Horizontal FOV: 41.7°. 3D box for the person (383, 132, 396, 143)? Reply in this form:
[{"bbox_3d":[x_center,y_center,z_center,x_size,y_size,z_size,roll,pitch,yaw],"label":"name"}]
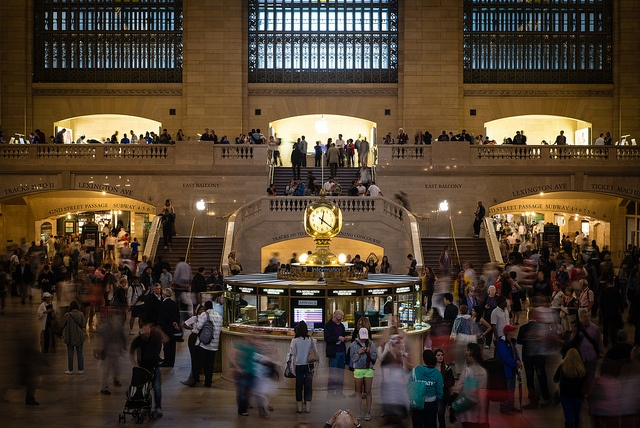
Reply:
[{"bbox_3d":[3.771,-4.098,45.166,0.521,0.720,1.281,-1,15,5],"label":"person"}]

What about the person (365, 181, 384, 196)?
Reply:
[{"bbox_3d":[2.578,-1.222,40.312,0.675,1.074,0.302,0,11,9],"label":"person"}]

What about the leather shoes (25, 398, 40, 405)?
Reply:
[{"bbox_3d":[-8.361,5.386,24.281,0.411,0.298,0.155,1,2,-5],"label":"leather shoes"}]

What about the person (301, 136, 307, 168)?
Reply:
[{"bbox_3d":[-0.880,-3.295,43.650,0.316,1.526,1.017,1,-3,4],"label":"person"}]

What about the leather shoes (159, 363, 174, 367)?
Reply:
[{"bbox_3d":[-4.908,4.766,26.832,0.446,0.199,0.153,7,-5,10],"label":"leather shoes"}]

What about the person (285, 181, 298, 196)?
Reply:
[{"bbox_3d":[-1.374,-1.272,40.072,0.516,0.723,0.737,1,-3,-1],"label":"person"}]

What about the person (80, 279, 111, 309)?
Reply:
[{"bbox_3d":[-7.681,2.700,28.533,0.496,0.667,0.917,14,-15,32],"label":"person"}]

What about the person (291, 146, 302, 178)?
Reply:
[{"bbox_3d":[-1.189,-2.624,42.289,0.481,1.830,1.263,1,-3,-2],"label":"person"}]

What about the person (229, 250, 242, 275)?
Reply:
[{"bbox_3d":[-3.485,1.956,34.044,0.467,0.880,0.683,1,-3,-6],"label":"person"}]

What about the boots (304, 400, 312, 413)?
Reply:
[{"bbox_3d":[-0.322,5.420,23.871,0.247,0.263,0.240,1,4,26],"label":"boots"}]

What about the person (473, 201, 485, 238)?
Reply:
[{"bbox_3d":[7.653,0.251,40.362,0.526,1.760,1.011,0,-3,9],"label":"person"}]

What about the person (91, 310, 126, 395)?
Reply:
[{"bbox_3d":[-6.213,4.075,24.905,0.799,2.456,0.864,2,-4,-16],"label":"person"}]

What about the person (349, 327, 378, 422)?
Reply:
[{"bbox_3d":[1.215,4.451,23.619,0.629,2.533,0.602,4,-4,-39],"label":"person"}]

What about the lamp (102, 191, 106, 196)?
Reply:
[{"bbox_3d":[-11.352,-1.103,44.007,0.158,0.163,0.138,-6,11,-30],"label":"lamp"}]

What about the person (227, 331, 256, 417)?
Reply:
[{"bbox_3d":[-2.110,4.353,23.232,0.632,1.995,0.968,1,-3,-8],"label":"person"}]

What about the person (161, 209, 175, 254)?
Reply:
[{"bbox_3d":[-7.025,0.637,38.685,0.587,1.834,0.661,2,-3,-14],"label":"person"}]

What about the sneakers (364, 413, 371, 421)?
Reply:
[{"bbox_3d":[1.344,5.616,23.475,0.209,0.193,0.183,2,-4,-14],"label":"sneakers"}]

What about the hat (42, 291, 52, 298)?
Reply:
[{"bbox_3d":[-8.901,2.598,27.312,0.337,0.147,0.452,0,-3,-4],"label":"hat"}]

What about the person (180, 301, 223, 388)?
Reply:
[{"bbox_3d":[-3.487,3.998,25.266,0.950,2.313,0.553,1,-3,4],"label":"person"}]

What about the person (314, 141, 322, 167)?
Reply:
[{"bbox_3d":[-0.074,-3.229,44.452,0.399,1.418,1.273,1,-3,0],"label":"person"}]

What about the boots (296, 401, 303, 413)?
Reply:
[{"bbox_3d":[-0.586,5.441,23.901,0.148,0.297,0.301,1,3,-3],"label":"boots"}]

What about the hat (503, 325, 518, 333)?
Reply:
[{"bbox_3d":[5.430,3.255,23.803,0.360,0.194,0.254,-22,6,-1],"label":"hat"}]

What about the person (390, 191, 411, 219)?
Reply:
[{"bbox_3d":[3.955,-0.682,40.295,0.838,1.096,2.989,1,-3,5],"label":"person"}]

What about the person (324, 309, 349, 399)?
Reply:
[{"bbox_3d":[0.465,4.051,24.555,0.703,2.551,0.606,1,-3,-1],"label":"person"}]

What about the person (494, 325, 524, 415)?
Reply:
[{"bbox_3d":[5.366,4.341,23.804,0.607,2.438,1.166,0,-4,20],"label":"person"}]

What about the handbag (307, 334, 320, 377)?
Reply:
[{"bbox_3d":[-0.182,4.016,23.834,0.231,0.909,0.335,-1,-4,27],"label":"handbag"}]

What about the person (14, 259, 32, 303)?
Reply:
[{"bbox_3d":[-12.483,2.761,35.257,0.716,1.858,1.119,2,-4,-20],"label":"person"}]

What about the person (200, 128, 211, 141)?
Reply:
[{"bbox_3d":[-5.866,-4.068,43.094,0.585,1.006,0.642,-4,2,-5],"label":"person"}]

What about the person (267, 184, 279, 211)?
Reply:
[{"bbox_3d":[-2.238,-0.805,39.728,0.529,1.384,1.965,1,-3,-4],"label":"person"}]
